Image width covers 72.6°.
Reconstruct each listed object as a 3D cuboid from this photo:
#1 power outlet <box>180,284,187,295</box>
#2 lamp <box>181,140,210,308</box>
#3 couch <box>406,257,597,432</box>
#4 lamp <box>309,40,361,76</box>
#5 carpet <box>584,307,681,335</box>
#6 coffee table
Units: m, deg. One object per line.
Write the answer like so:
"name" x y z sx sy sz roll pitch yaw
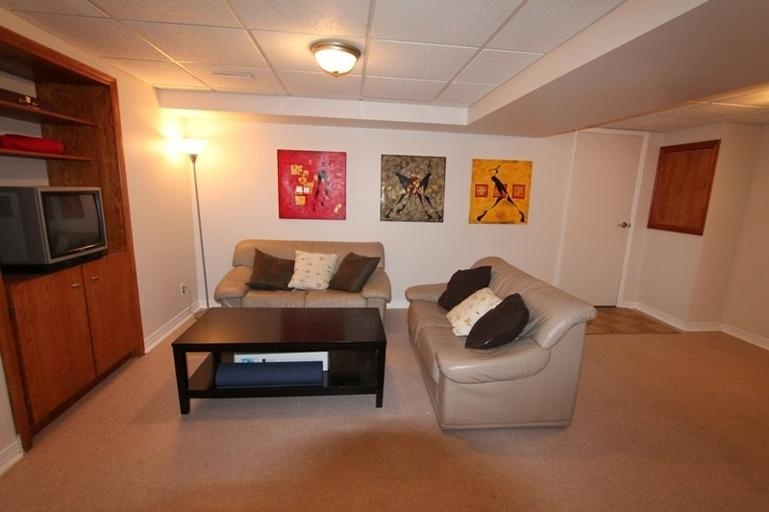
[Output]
"power outlet" -2.445 0.399 6.310 0.085 0.112 0.117 2 5 16
"lamp" -2.338 -0.371 6.458 0.242 2.098 0.436 -3 13 -20
"couch" 1.041 0.838 5.131 1.388 1.276 1.260 -1 11 -10
"lamp" -0.456 -1.838 4.857 0.485 0.263 0.257 0 11 -6
"carpet" 3.040 0.810 6.712 1.150 0.105 0.902 1 10 -3
"coffee table" -0.964 1.289 5.280 1.985 0.720 0.955 -1 18 -3
